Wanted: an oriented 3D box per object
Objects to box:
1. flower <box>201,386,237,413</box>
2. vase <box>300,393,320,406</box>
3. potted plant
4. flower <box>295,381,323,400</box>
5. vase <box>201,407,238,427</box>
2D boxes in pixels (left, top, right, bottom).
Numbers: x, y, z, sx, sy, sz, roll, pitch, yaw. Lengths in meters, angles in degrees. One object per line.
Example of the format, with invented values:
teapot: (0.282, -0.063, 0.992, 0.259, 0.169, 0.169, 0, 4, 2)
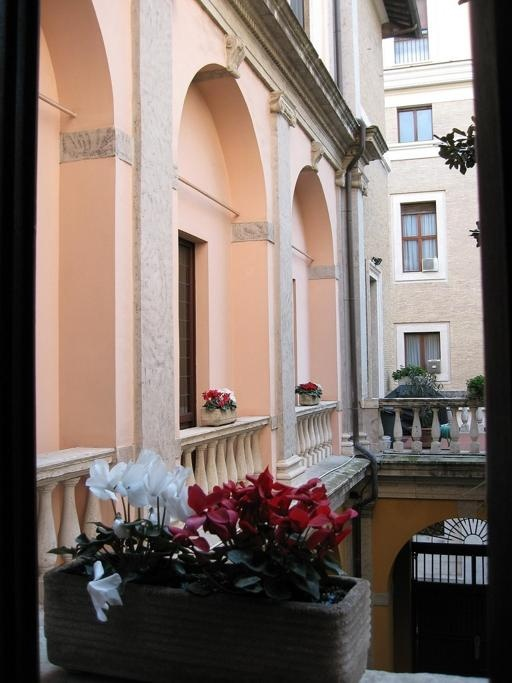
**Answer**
flower: (-0.324, 0.455, 5.760, 0.191, 0.119, 0.200, -1, 7, -34)
vase: (0.650, 0.696, 8.637, 0.132, 0.145, 0.203, -3, -5, 42)
potted plant: (2.884, 1.052, 12.683, 0.802, 0.849, 1.504, -7, -42, 9)
flower: (0.624, 0.594, 8.646, 0.299, 0.195, 0.257, -2, -3, 6)
vase: (-0.308, 0.597, 5.759, 0.190, 0.143, 0.439, -2, -3, 14)
